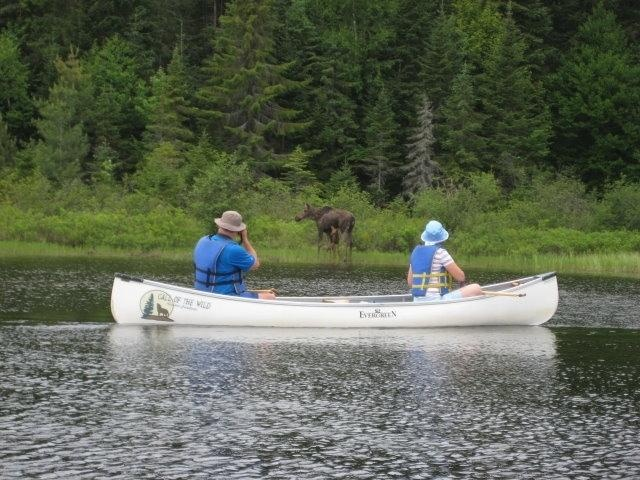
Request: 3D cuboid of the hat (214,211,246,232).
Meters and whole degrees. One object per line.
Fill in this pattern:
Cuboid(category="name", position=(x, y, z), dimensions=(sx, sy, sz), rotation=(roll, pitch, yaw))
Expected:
Cuboid(category="hat", position=(-2.466, -0.489, 31.322), dimensions=(0.768, 0.564, 0.715), rotation=(2, 1, -13))

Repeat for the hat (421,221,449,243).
Cuboid(category="hat", position=(3.308, -0.254, 31.798), dimensions=(0.587, 0.367, 0.704), rotation=(0, 41, 6))
